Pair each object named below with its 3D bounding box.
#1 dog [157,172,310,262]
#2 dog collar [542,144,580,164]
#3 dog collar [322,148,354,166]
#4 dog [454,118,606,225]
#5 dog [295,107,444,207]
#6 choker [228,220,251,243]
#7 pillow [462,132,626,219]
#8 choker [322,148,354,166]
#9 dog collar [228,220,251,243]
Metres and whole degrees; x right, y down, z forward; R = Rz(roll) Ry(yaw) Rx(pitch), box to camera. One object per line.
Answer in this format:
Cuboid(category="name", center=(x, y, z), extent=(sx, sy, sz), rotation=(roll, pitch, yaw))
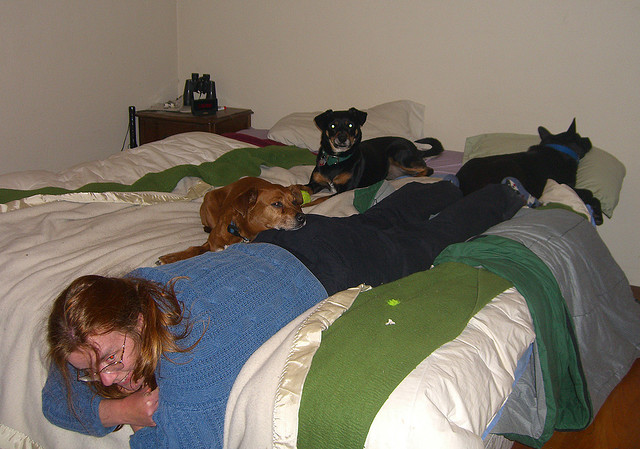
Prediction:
Cuboid(category="dog", center=(-0.459, -0.077, 3.076), extent=(0.835, 0.375, 0.854), rotation=(-4, 17, -25))
Cuboid(category="dog collar", center=(1.711, -0.498, 3.822), extent=(0.159, 0.043, 0.146), rotation=(34, 34, 19))
Cuboid(category="dog collar", center=(0.084, -0.435, 3.502), extent=(0.098, 0.042, 0.089), rotation=(-19, 49, -28))
Cuboid(category="dog", center=(1.473, -0.313, 3.739), extent=(1.019, 0.547, 0.348), rotation=(-19, -27, 4))
Cuboid(category="dog", center=(0.320, -0.531, 3.788), extent=(1.380, 0.574, 0.523), rotation=(-16, 19, -36))
Cuboid(category="choker", center=(-0.427, 0.037, 2.867), extent=(0.126, 0.093, 0.050), rotation=(24, 15, -13))
Cuboid(category="pillow", center=(1.478, -0.350, 3.895), extent=(1.123, 0.578, 0.361), rotation=(-13, -9, -12))
Cuboid(category="choker", center=(0.079, -0.430, 3.507), extent=(0.104, 0.048, 0.093), rotation=(-18, 47, -27))
Cuboid(category="dog collar", center=(-0.435, 0.036, 2.879), extent=(0.127, 0.050, 0.091), rotation=(26, -21, -4))
